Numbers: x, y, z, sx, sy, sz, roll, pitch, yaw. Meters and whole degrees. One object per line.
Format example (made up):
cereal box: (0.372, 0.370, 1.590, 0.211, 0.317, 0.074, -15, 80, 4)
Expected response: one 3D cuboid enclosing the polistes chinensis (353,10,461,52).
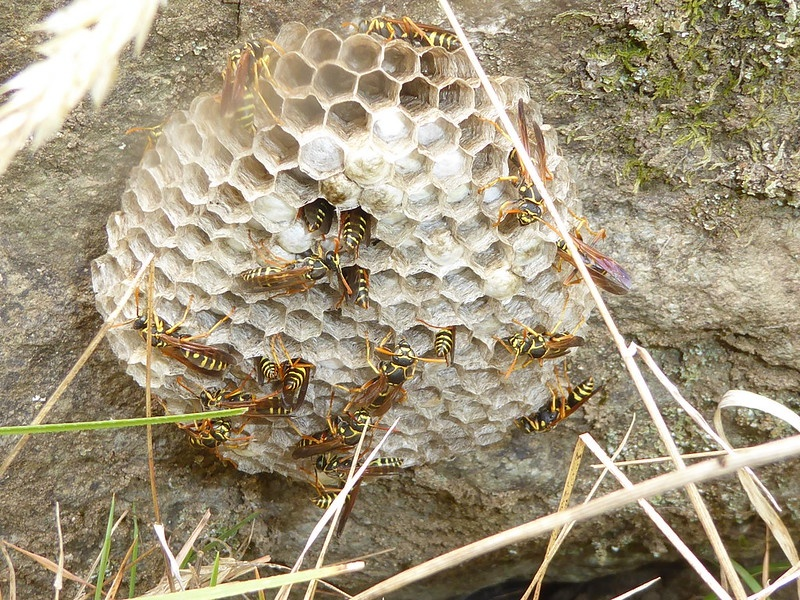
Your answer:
polistes chinensis: (0.021, -1.118, 4.000, 0.438, 0.170, 0.271, -9, 31, 7)
